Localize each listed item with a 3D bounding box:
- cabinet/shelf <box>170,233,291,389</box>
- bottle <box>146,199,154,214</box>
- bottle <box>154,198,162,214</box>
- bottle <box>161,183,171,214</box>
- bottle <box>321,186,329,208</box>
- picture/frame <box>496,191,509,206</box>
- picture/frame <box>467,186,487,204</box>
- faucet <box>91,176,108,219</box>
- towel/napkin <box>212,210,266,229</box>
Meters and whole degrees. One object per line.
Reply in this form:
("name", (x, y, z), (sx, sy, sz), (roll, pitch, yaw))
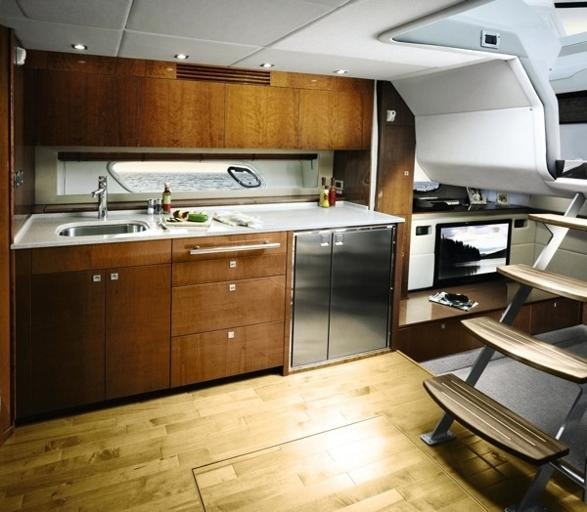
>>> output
("cabinet/shelf", (-0.486, 0.289, 3.423), (1.058, 1.200, 0.981), (-3, 7, -25))
("bottle", (-1.021, -0.355, 3.251), (0.060, 0.105, 0.038), (-11, 15, -36))
("bottle", (-0.982, -0.358, 3.284), (0.052, 0.103, 0.064), (6, 15, 35))
("bottle", (-0.943, -0.429, 3.349), (0.075, 0.215, 0.204), (-5, 12, -11))
("bottle", (0.260, -0.501, 3.835), (0.073, 0.166, 0.135), (-2, 12, 4))
("picture/frame", (2.212, -0.624, 4.815), (0.150, 0.146, 0.142), (-5, 6, -32))
("picture/frame", (1.857, -0.629, 4.615), (0.170, 0.150, 0.022), (-9, 11, -19))
("faucet", (-1.294, -0.390, 3.039), (0.089, 0.286, 0.221), (-7, 12, -18))
("towel/napkin", (-0.411, -0.248, 3.075), (0.430, 0.087, 0.211), (3, 12, 23))
